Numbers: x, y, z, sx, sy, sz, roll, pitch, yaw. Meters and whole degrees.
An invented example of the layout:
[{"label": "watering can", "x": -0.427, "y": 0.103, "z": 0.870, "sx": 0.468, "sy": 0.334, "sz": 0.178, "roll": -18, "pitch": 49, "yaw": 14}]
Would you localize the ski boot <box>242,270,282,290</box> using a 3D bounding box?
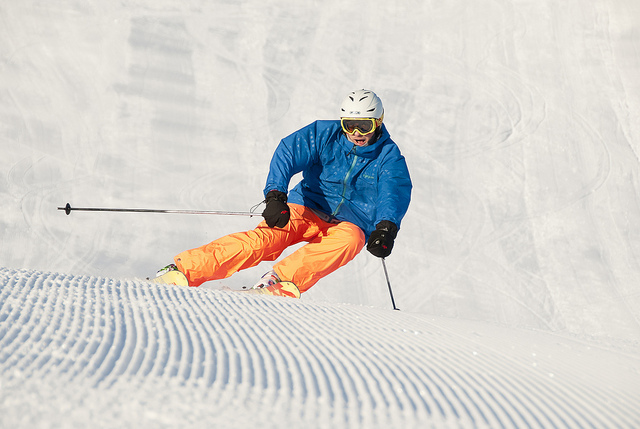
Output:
[{"label": "ski boot", "x": -0.496, "y": 0.641, "z": 8.697, "sx": 0.266, "sy": 0.111, "sz": 0.152, "roll": -23, "pitch": 76, "yaw": -19}]
